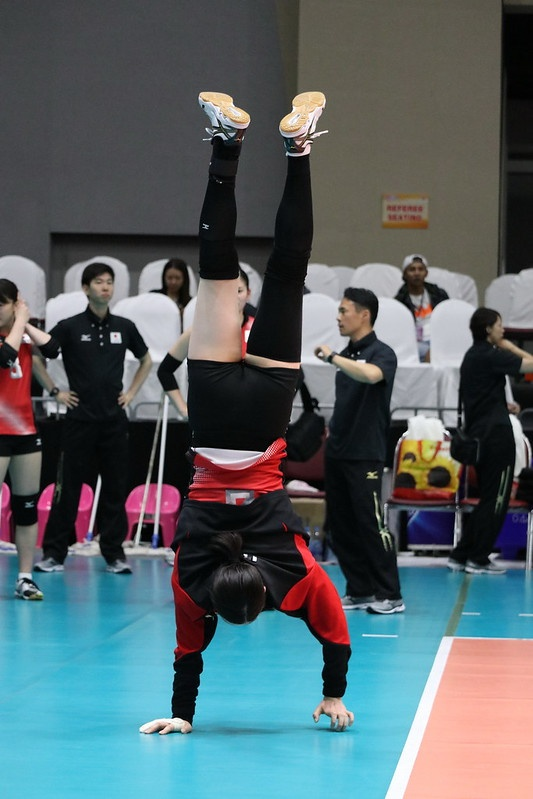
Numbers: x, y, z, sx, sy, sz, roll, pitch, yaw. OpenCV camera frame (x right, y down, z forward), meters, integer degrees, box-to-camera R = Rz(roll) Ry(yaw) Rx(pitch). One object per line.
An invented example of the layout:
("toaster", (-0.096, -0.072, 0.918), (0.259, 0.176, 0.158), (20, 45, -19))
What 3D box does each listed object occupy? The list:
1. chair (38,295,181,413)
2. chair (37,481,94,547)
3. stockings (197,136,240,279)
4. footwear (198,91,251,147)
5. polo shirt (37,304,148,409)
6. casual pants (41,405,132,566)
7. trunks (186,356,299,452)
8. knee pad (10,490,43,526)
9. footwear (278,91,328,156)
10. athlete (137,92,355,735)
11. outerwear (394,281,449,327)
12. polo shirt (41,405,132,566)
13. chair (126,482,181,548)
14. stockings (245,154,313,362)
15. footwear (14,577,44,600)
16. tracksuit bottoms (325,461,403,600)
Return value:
("chair", (-1.068, -0.297, 6.459), (1.122, 1.118, 0.685), (1, 2, -3))
("chair", (-1.452, 0.941, 7.345), (0.421, 0.514, 0.414), (-11, -27, 41))
("stockings", (-0.099, -0.426, 2.064), (0.089, 0.317, 0.066), (3, 7, -6))
("footwear", (-0.097, -0.632, 2.069), (0.077, 0.089, 0.212), (-5, 33, -24))
("polo shirt", (-1.126, -0.242, 6.065), (0.864, 0.723, 0.315), (-3, 10, -38))
("casual pants", (-1.166, 0.523, 6.091), (0.603, 1.180, 0.288), (3, 3, -12))
("trunks", (-0.079, 0.004, 2.277), (0.362, 0.242, 0.203), (4, 19, -7))
("knee pad", (-1.302, 0.597, 4.989), (0.181, 0.176, 0.162), (-1, -5, -14))
("footwear", (0.092, -0.637, 2.110), (0.079, 0.094, 0.220), (4, 37, 19))
("athlete", (-0.110, 0.184, 2.467), (0.521, 1.356, 0.400), (-11, -21, 10))
("outerwear", (1.579, -1.029, 9.249), (0.519, 0.465, 0.195), (0, -12, -9))
("polo shirt", (-1.171, 0.542, 6.102), (0.605, 1.180, 0.292), (2, 10, -15))
("chair", (-0.883, 0.890, 7.169), (0.475, 0.386, 0.399), (0, 18, -9))
("stockings", (0.054, -0.331, 2.121), (0.121, 0.484, 0.113), (7, 12, 0))
("footwear", (-1.293, 1.041, 5.031), (0.086, 0.088, 0.207), (3, -5, -31))
("tracksuit bottoms", (0.519, 0.706, 4.986), (0.271, 0.795, 0.366), (14, -24, -36))
